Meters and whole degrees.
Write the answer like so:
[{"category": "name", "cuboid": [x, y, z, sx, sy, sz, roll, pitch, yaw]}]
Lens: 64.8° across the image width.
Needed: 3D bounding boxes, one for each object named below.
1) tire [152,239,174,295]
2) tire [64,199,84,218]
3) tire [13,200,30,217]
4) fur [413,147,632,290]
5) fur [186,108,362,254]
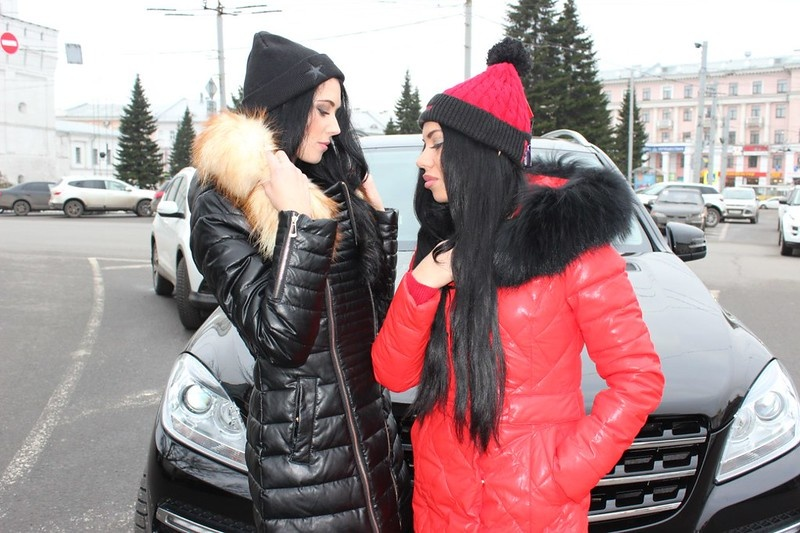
[{"category": "tire", "cuboid": [-3.292, -0.001, 8.772, 0.223, 0.747, 0.701, -2, 9, -17]}, {"category": "tire", "cuboid": [-14.213, -2.565, 27.458, 0.651, 0.715, 0.266, 5, 32, 4]}, {"category": "tire", "cuboid": [-16.894, -2.642, 28.158, 0.658, 0.731, 0.251, 2, 17, 0]}, {"category": "fur", "cuboid": [0.431, -0.050, 2.123, 0.586, 0.337, 0.522, 5, -6, -28]}, {"category": "fur", "cuboid": [-0.579, -0.470, 2.415, 0.434, 0.233, 0.667, -7, 36, -30]}]
